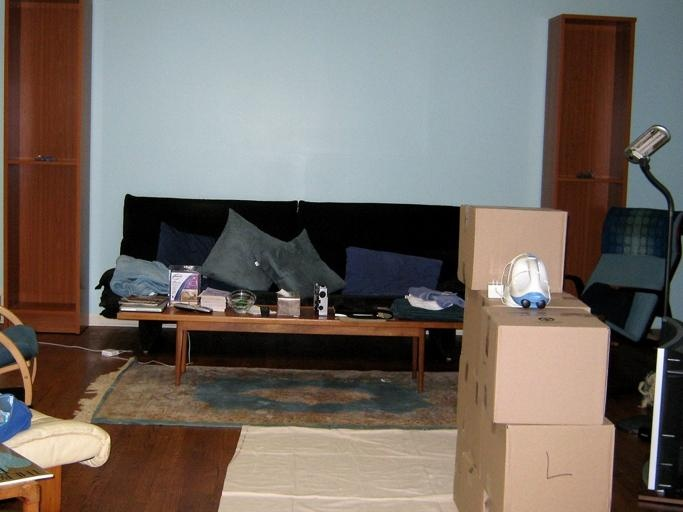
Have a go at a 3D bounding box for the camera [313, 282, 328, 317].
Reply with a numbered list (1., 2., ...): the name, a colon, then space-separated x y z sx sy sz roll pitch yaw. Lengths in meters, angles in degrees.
1. camera: -0.130 0.280 3.799 0.070 0.176 0.179 1 -4 -4

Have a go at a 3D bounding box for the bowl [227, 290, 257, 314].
1. bowl: -0.618 0.275 3.751 0.139 0.095 0.141 2 7 0

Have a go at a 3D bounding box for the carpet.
1. carpet: -0.413 0.834 3.689 2.224 0.043 0.881 1 11 -3

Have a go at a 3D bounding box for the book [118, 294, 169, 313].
1. book: -1.179 0.301 3.675 0.274 0.073 0.163 -1 11 -16

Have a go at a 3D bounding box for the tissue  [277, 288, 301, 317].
1. tissue : -0.311 0.297 3.735 0.149 0.150 0.150 1 -2 0
